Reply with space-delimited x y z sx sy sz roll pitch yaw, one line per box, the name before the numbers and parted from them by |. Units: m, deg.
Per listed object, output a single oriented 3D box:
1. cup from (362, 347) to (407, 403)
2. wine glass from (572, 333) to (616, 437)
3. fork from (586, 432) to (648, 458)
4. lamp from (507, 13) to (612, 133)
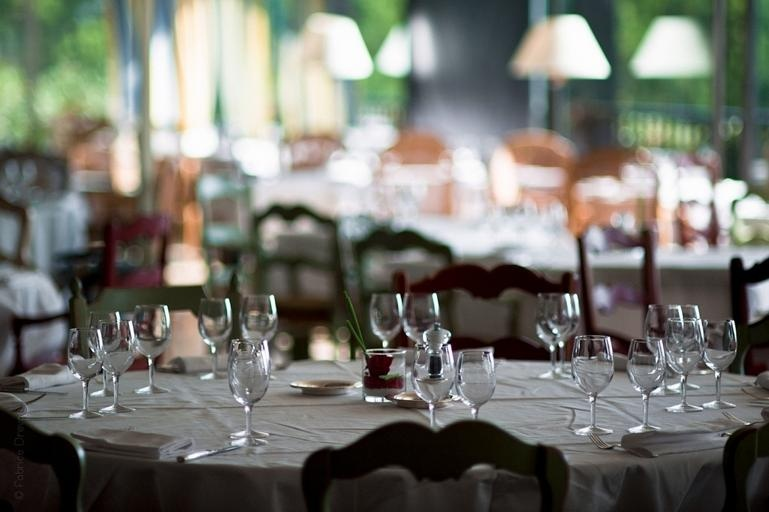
cup | -0.003 0.389 2.898 0.133 0.189 0.147 2 -1 -17
wine glass | 0.654 0.394 2.726 0.118 0.302 0.213 -2 -5 20
fork | 0.681 0.554 2.563 0.161 0.028 0.031 9 42 35
lamp | 1.276 -1.312 6.439 0.560 0.731 0.636 -1 3 -4
